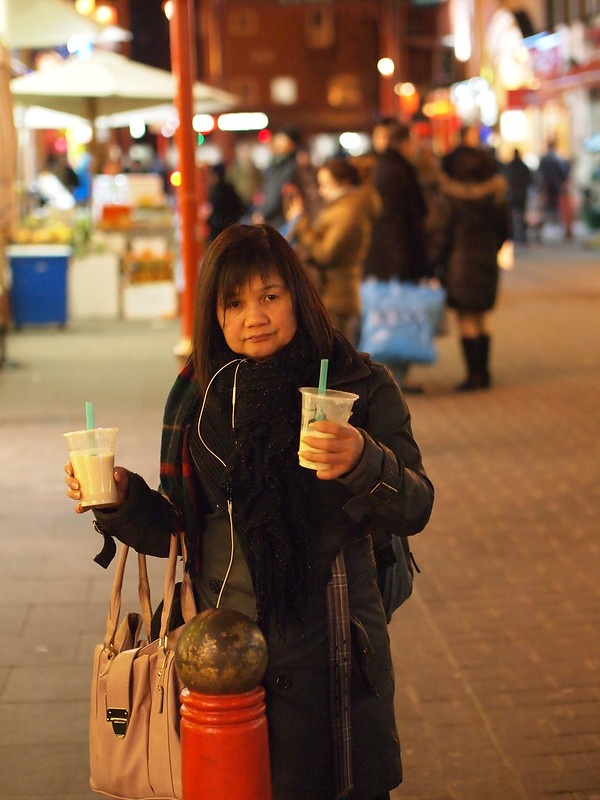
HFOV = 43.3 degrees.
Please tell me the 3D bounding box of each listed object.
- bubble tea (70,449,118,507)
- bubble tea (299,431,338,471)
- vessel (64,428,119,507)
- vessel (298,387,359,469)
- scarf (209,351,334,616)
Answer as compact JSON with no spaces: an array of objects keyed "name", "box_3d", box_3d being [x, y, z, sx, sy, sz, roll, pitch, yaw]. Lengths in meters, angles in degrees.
[{"name":"bubble tea","box_3d":[-0.423,0.154,1.566,0.082,0.107,0.089,1,6,45]},{"name":"bubble tea","box_3d":[0.019,0.082,1.238,0.036,0.071,0.070,-6,12,-23]},{"name":"vessel","box_3d":[-0.415,0.143,1.585,0.118,0.151,0.123,-8,-2,12]},{"name":"vessel","box_3d":[0.042,0.049,1.264,0.104,0.129,0.109,9,1,-18]},{"name":"scarf","box_3d":[-0.088,0.181,1.495,0.285,0.535,0.260,0,11,7]}]
